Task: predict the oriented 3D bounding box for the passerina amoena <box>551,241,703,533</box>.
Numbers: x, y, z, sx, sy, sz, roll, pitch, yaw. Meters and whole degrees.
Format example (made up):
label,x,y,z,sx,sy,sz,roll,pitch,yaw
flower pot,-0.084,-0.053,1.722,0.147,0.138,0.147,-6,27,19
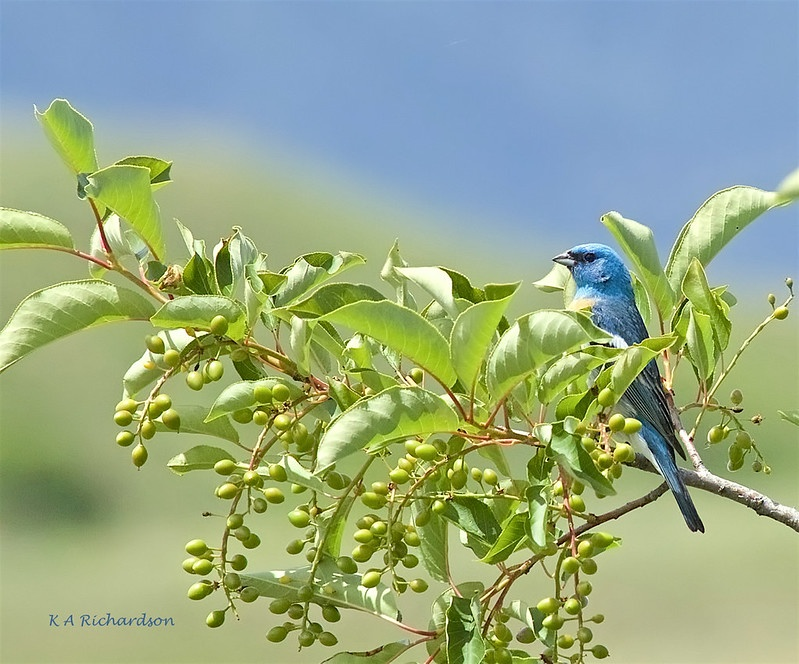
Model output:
label,x,y,z,sx,sy,sz,roll,pitch,yaw
passerina amoena,1.342,0.116,6.372,0.951,2.185,1.231,1,4,27
